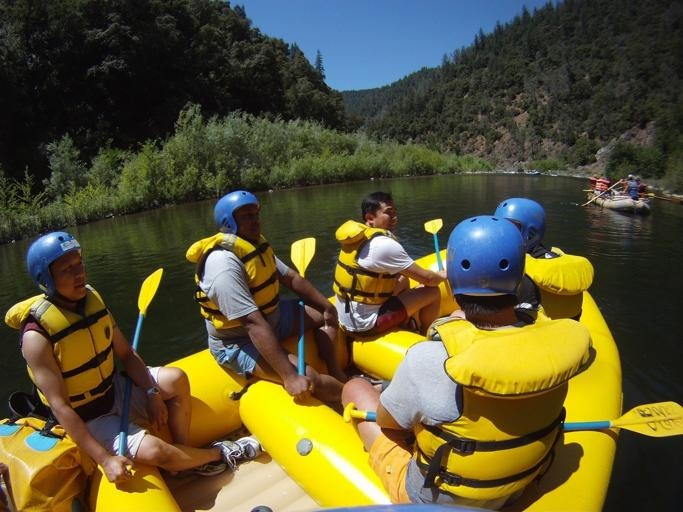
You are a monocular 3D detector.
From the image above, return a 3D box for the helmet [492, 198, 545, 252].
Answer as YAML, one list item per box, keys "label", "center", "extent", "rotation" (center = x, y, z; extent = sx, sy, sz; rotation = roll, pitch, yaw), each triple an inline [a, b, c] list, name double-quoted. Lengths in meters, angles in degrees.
- label: "helmet"
  center: [1.528, -0.208, 4.457]
  extent: [0.453, 0.527, 0.408]
  rotation: [4, -10, -23]

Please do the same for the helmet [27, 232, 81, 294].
- label: "helmet"
  center: [-1.879, 0.044, 3.402]
  extent: [0.331, 0.395, 0.171]
  rotation: [-14, 18, -29]

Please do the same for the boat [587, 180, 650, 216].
- label: "boat"
  center: [7.305, -1.469, 13.687]
  extent: [0.673, 0.669, 2.096]
  rotation: [-4, 17, 4]

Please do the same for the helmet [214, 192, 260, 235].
- label: "helmet"
  center: [-0.859, -0.334, 4.153]
  extent: [0.364, 0.353, 0.323]
  rotation: [-10, 0, 23]

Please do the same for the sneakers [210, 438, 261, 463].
- label: "sneakers"
  center: [-0.803, 1.444, 3.910]
  extent: [0.406, 0.164, 0.176]
  rotation: [-5, -11, -8]

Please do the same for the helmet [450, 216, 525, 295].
- label: "helmet"
  center: [0.845, 0.008, 3.101]
  extent: [0.390, 0.464, 0.574]
  rotation: [-3, 4, 17]

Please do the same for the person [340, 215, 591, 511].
- label: "person"
  center: [0.750, 0.644, 3.006]
  extent: [1.292, 1.664, 0.666]
  rotation: [-5, 16, 0]
